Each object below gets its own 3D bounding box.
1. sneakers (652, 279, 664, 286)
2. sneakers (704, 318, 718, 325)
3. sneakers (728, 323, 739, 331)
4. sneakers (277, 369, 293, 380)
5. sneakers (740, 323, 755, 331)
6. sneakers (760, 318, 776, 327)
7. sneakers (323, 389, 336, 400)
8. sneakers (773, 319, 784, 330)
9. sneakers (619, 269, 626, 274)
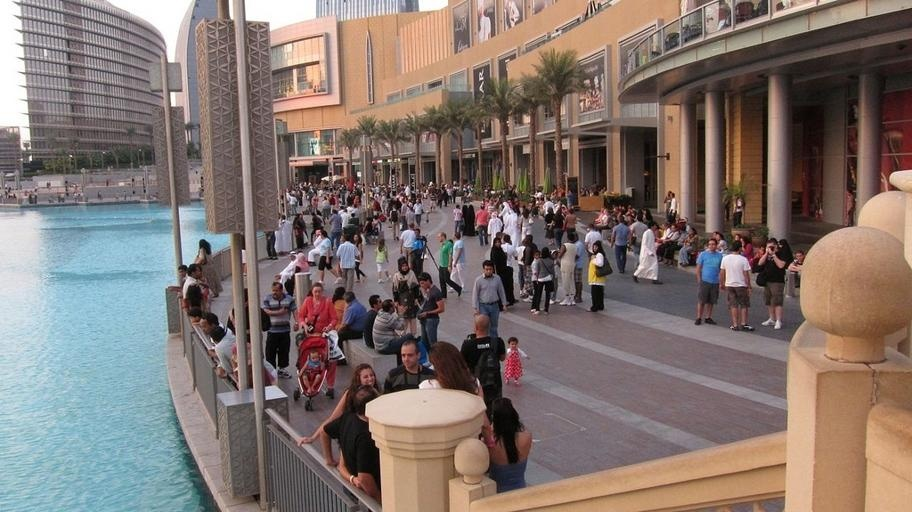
[{"bbox_3d":[6.707,0.845,21.384,0.324,0.206,0.133,-1,5,9],"label":"sneakers"},{"bbox_3d":[6.444,1.618,16.320,0.130,0.099,0.262,-3,3,-32],"label":"sneakers"},{"bbox_3d":[6.811,1.709,15.797,0.094,0.087,0.215,-2,10,2],"label":"sneakers"},{"bbox_3d":[-3.708,2.517,13.994,0.342,0.145,0.143,3,8,17],"label":"sneakers"},{"bbox_3d":[7.082,1.699,15.698,0.285,0.116,0.143,-2,11,3],"label":"sneakers"},{"bbox_3d":[7.748,1.611,15.987,0.341,0.146,0.124,0,8,39],"label":"sneakers"},{"bbox_3d":[-2.494,2.688,12.795,0.256,0.175,0.246,0,16,2],"label":"sneakers"},{"bbox_3d":[7.867,1.647,15.766,0.199,0.244,0.582,-6,-8,26],"label":"sneakers"},{"bbox_3d":[6.070,0.534,23.564,0.138,0.093,0.314,3,4,5],"label":"sneakers"}]
